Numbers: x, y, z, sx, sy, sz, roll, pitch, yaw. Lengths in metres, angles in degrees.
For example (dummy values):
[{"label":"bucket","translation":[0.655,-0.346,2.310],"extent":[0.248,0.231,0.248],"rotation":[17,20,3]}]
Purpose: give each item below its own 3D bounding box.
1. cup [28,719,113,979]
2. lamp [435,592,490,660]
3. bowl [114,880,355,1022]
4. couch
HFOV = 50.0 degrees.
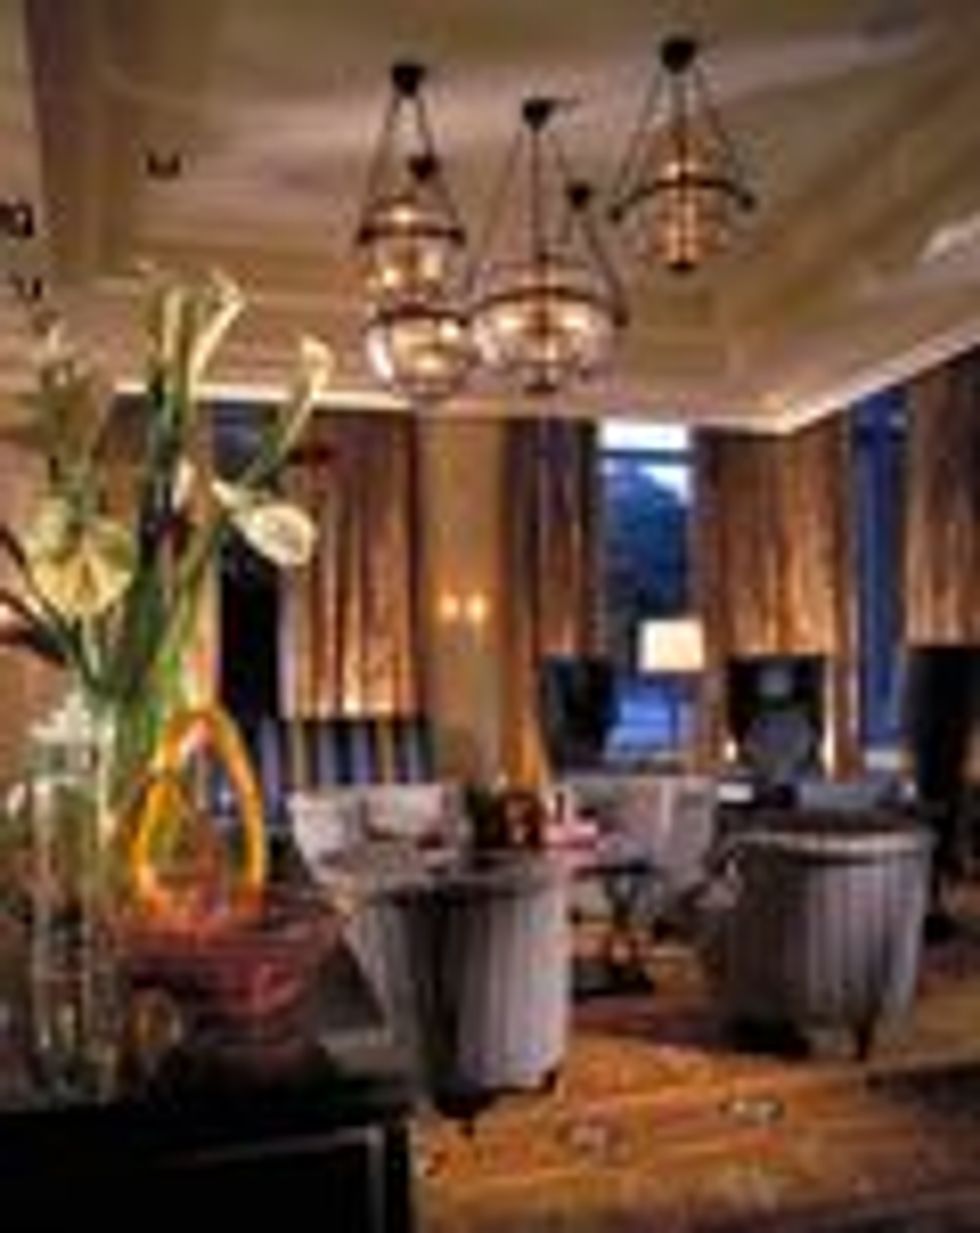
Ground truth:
[{"label":"cup","translation":[-0.417,0.228,1.037],"extent":[0.071,0.268,0.132],"rotation":[0,-4,-20]},{"label":"lamp","translation":[-0.222,0.075,7.439],"extent":[0.448,0.589,0.156],"rotation":[1,-5,-20]},{"label":"bowl","translation":[-0.236,0.315,0.969],"extent":[0.212,0.094,0.218],"rotation":[2,0,0]},{"label":"couch","translation":[-0.876,1.067,6.153],"extent":[1.515,1.066,0.823],"rotation":[4,-17,-23]}]
